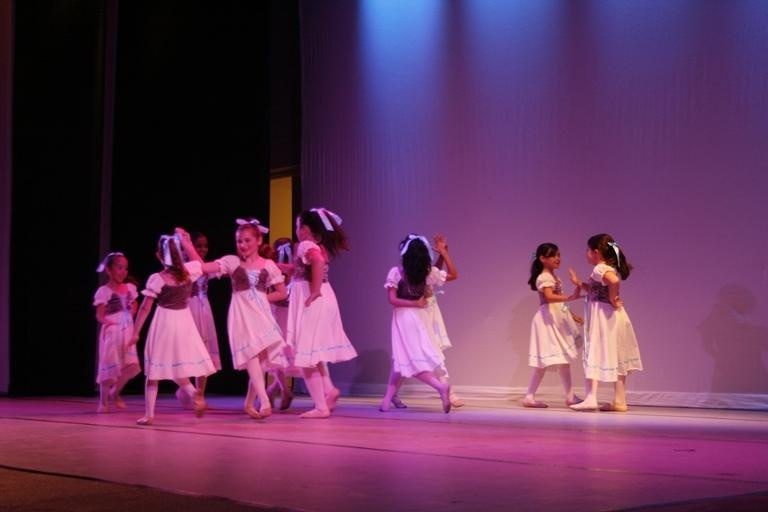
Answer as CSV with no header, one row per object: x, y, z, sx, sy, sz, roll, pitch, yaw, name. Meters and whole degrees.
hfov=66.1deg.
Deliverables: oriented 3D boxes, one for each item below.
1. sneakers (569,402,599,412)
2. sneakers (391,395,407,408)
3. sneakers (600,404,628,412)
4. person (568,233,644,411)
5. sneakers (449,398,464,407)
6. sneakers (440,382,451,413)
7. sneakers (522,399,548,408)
1.814,1.341,5.308,0.208,0.091,0.098,2,-7,17,sneakers
0.148,1.413,5.651,0.072,0.092,0.218,1,-15,-24,sneakers
2.053,1.351,5.238,0.234,0.077,0.093,1,0,29,sneakers
2.021,0.591,5.328,0.581,1.580,0.434,2,-5,-33,person
0.675,1.361,5.452,0.083,0.061,0.149,2,-12,-18,sneakers
0.544,1.241,5.124,0.101,0.250,0.087,-1,18,9,sneakers
1.446,1.401,5.539,0.172,0.073,0.093,-2,-3,3,sneakers
